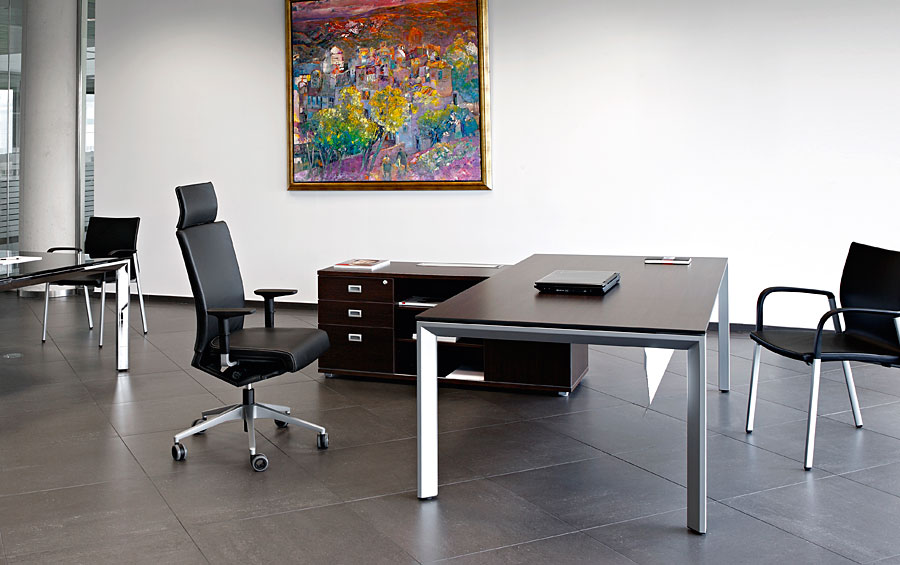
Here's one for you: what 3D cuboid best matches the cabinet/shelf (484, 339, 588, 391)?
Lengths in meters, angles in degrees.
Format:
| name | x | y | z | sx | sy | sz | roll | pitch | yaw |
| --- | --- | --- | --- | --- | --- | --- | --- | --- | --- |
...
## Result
| name | x | y | z | sx | sy | sz | roll | pitch | yaw |
| --- | --- | --- | --- | --- | --- | --- | --- | --- | --- |
| cabinet/shelf | 0.702 | 0.672 | 5.428 | 0.561 | 0.313 | 0.543 | 0 | 1 | 23 |

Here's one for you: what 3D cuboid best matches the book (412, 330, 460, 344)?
| name | x | y | z | sx | sy | sz | roll | pitch | yaw |
| --- | --- | --- | --- | --- | --- | --- | --- | --- | --- |
| book | -0.092 | 0.354 | 4.266 | 0.244 | 0.050 | 0.217 | 0 | 0 | 8 |

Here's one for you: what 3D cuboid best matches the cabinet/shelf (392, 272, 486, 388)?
| name | x | y | z | sx | sy | sz | roll | pitch | yaw |
| --- | --- | --- | --- | --- | --- | --- | --- | --- | --- |
| cabinet/shelf | -0.102 | 0.362 | 5.017 | 1.069 | 0.989 | 0.554 | 0 | 5 | -2 |

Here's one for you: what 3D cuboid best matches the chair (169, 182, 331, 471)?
| name | x | y | z | sx | sy | sz | roll | pitch | yaw |
| --- | --- | --- | --- | --- | --- | --- | --- | --- | --- |
| chair | -1.510 | 0.243 | 4.559 | 1.108 | 1.838 | 0.966 | 10 | 18 | 43 |
